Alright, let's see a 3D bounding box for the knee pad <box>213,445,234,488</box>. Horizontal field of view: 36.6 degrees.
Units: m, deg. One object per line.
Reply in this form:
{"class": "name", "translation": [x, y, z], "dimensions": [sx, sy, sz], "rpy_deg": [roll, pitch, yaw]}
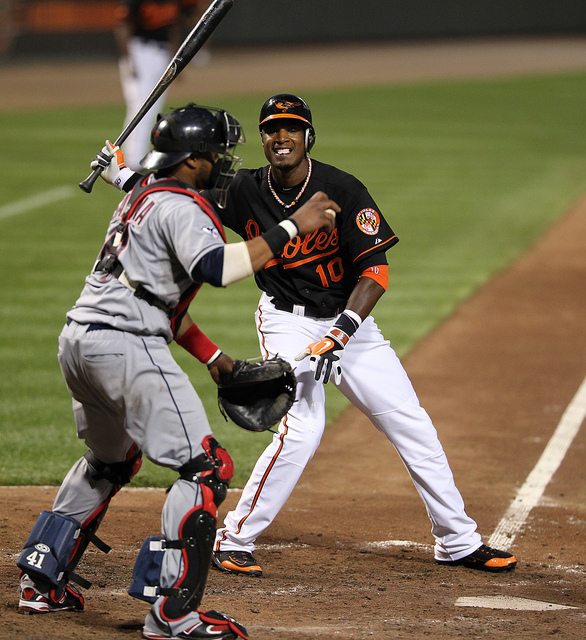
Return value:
{"class": "knee pad", "translation": [-0.236, 0.499, 3.039], "dimensions": [0.069, 0.134, 0.168], "rpy_deg": [5, 0, -1]}

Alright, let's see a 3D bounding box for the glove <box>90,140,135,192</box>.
{"class": "glove", "translation": [-0.759, -0.662, 3.729], "dimensions": [0.168, 0.208, 0.224], "rpy_deg": [4, 0, -17]}

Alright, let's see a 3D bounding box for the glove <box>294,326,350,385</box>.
{"class": "glove", "translation": [0.126, 0.148, 3.531], "dimensions": [0.242, 0.220, 0.096], "rpy_deg": [17, -7, -7]}

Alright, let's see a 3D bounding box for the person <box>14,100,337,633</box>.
{"class": "person", "translation": [-0.456, 0.141, 3.066], "dimensions": [0.810, 1.724, 0.428], "rpy_deg": [6, 0, 29]}

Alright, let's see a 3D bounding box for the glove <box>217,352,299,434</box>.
{"class": "glove", "translation": [-0.152, 0.294, 3.463], "dimensions": [0.343, 0.304, 0.173], "rpy_deg": [4, 0, 44]}
